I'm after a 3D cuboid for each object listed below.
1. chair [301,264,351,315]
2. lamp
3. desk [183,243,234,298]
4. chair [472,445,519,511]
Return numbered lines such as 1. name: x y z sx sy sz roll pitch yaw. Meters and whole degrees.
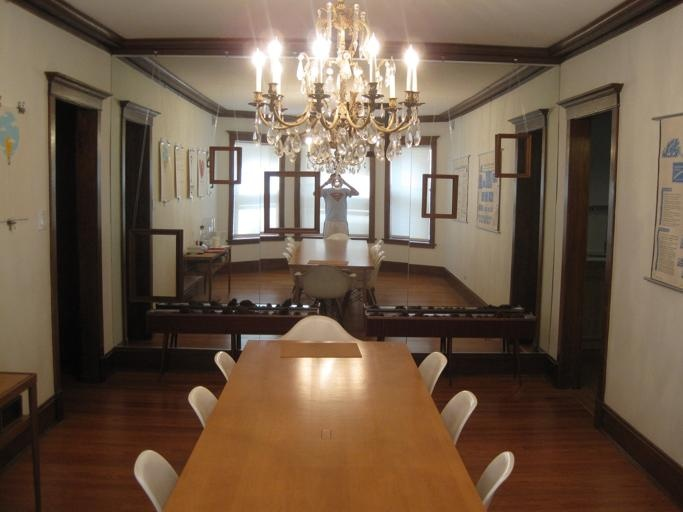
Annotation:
1. chair: -0.147 0.288 5.549 0.419 0.646 0.435 0 15 0
2. lamp: -0.058 -1.290 3.969 1.204 1.718 1.304 -1 6 -6
3. desk: -1.297 0.042 5.423 0.393 0.581 0.585 1 9 8
4. chair: 0.743 1.082 2.609 0.156 0.247 0.282 4 12 15
